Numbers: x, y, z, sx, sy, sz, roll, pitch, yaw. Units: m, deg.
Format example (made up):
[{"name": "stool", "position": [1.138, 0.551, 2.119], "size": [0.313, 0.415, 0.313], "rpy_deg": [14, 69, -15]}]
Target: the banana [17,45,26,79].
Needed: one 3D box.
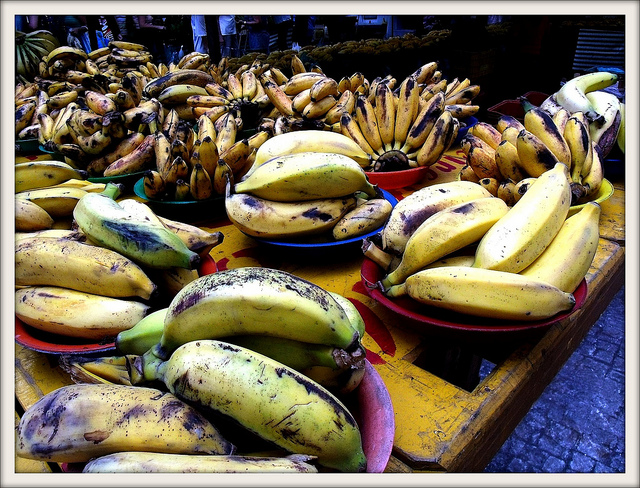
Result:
[{"name": "banana", "position": [-2.286, -1.399, 3.803], "size": [0.039, 0.248, 0.063], "rpy_deg": [-7, -5, 6]}]

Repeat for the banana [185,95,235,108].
[{"name": "banana", "position": [-0.578, -0.766, 2.649], "size": [0.258, 0.089, 0.063], "rpy_deg": [5, 38, -1]}]

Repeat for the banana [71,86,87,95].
[{"name": "banana", "position": [-1.483, -0.961, 3.058], "size": [0.029, 0.039, 0.107], "rpy_deg": [-5, 19, -2]}]

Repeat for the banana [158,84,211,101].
[{"name": "banana", "position": [-0.745, -0.823, 2.686], "size": [0.275, 0.079, 0.090], "rpy_deg": [-4, 26, -4]}]

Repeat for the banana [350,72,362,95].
[{"name": "banana", "position": [0.208, -0.930, 2.822], "size": [0.047, 0.150, 0.052], "rpy_deg": [0, -9, -15]}]

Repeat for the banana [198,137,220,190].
[{"name": "banana", "position": [-0.440, -0.329, 2.013], "size": [0.058, 0.224, 0.076], "rpy_deg": [-7, 10, -18]}]

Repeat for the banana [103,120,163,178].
[{"name": "banana", "position": [-0.855, -0.426, 2.246], "size": [0.121, 0.100, 0.372], "rpy_deg": [-10, 37, 54]}]

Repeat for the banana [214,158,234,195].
[{"name": "banana", "position": [-0.382, -0.269, 2.007], "size": [0.058, 0.209, 0.065], "rpy_deg": [-8, 21, -22]}]

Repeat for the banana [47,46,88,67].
[{"name": "banana", "position": [-1.789, -1.336, 3.476], "size": [0.337, 0.167, 0.095], "rpy_deg": [-12, 35, -25]}]

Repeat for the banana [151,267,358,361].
[{"name": "banana", "position": [-0.150, 0.152, 1.235], "size": [0.438, 0.154, 0.221], "rpy_deg": [1, 37, 13]}]

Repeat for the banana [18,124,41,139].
[{"name": "banana", "position": [-1.661, -0.645, 2.840], "size": [0.149, 0.049, 0.081], "rpy_deg": [-31, 36, -24]}]

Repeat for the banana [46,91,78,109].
[{"name": "banana", "position": [-1.527, -0.855, 2.942], "size": [0.215, 0.113, 0.076], "rpy_deg": [-9, -12, -21]}]

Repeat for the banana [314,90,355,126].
[{"name": "banana", "position": [0.066, -0.675, 2.462], "size": [0.091, 0.068, 0.265], "rpy_deg": [-19, 25, 53]}]

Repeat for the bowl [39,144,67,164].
[{"name": "bowl", "position": [-1.351, -0.449, 2.508], "size": [0.151, 0.066, 0.153], "rpy_deg": [11, 19, -4]}]

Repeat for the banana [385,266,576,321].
[{"name": "banana", "position": [0.459, 0.135, 1.441], "size": [0.532, 0.162, 0.165], "rpy_deg": [7, 7, 13]}]

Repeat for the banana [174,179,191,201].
[{"name": "banana", "position": [-0.545, -0.214, 1.967], "size": [0.042, 0.064, 0.047], "rpy_deg": [19, 55, 19]}]

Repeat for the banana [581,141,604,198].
[{"name": "banana", "position": [1.081, -0.292, 1.968], "size": [0.065, 0.248, 0.082], "rpy_deg": [13, -10, -12]}]

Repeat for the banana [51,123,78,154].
[{"name": "banana", "position": [-1.235, -0.521, 2.432], "size": [0.069, 0.084, 0.243], "rpy_deg": [7, 30, -8]}]

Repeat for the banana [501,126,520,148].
[{"name": "banana", "position": [0.786, -0.452, 2.038], "size": [0.063, 0.061, 0.102], "rpy_deg": [25, 45, 0]}]

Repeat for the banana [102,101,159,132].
[{"name": "banana", "position": [-0.928, -0.664, 2.474], "size": [0.095, 0.076, 0.279], "rpy_deg": [-26, 12, 34]}]

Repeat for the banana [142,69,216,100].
[{"name": "banana", "position": [-0.802, -0.851, 2.754], "size": [0.400, 0.109, 0.152], "rpy_deg": [-11, -27, 17]}]

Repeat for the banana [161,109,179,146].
[{"name": "banana", "position": [-0.692, -0.559, 2.371], "size": [0.071, 0.088, 0.263], "rpy_deg": [1, 39, -4]}]

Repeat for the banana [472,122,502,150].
[{"name": "banana", "position": [0.750, -0.486, 2.257], "size": [0.078, 0.065, 0.169], "rpy_deg": [-21, 48, -15]}]

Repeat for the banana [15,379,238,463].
[{"name": "banana", "position": [-0.473, 0.415, 1.125], "size": [0.445, 0.127, 0.168], "rpy_deg": [-2, 51, 3]}]

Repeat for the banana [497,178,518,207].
[{"name": "banana", "position": [0.692, -0.191, 1.849], "size": [0.099, 0.062, 0.073], "rpy_deg": [5, 48, -32]}]

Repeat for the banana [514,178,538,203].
[{"name": "banana", "position": [0.706, -0.195, 1.729], "size": [0.092, 0.073, 0.052], "rpy_deg": [11, -22, -12]}]

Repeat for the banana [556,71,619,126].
[{"name": "banana", "position": [1.408, -0.815, 2.555], "size": [0.269, 0.067, 0.159], "rpy_deg": [-20, -3, -22]}]

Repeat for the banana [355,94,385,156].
[{"name": "banana", "position": [0.234, -0.572, 2.388], "size": [0.087, 0.338, 0.109], "rpy_deg": [-18, -3, 42]}]

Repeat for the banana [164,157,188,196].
[{"name": "banana", "position": [-0.578, -0.275, 1.981], "size": [0.056, 0.197, 0.063], "rpy_deg": [17, 17, -6]}]

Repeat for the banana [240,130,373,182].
[{"name": "banana", "position": [-0.003, -0.369, 2.001], "size": [0.572, 0.214, 0.175], "rpy_deg": [11, 1, 29]}]

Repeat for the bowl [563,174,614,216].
[{"name": "bowl", "position": [0.979, -0.184, 1.816], "size": [0.163, 0.049, 0.159], "rpy_deg": [-43, 6, 6]}]

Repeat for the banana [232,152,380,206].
[{"name": "banana", "position": [-0.047, -0.216, 1.736], "size": [0.517, 0.187, 0.172], "rpy_deg": [-1, -2, -3]}]
